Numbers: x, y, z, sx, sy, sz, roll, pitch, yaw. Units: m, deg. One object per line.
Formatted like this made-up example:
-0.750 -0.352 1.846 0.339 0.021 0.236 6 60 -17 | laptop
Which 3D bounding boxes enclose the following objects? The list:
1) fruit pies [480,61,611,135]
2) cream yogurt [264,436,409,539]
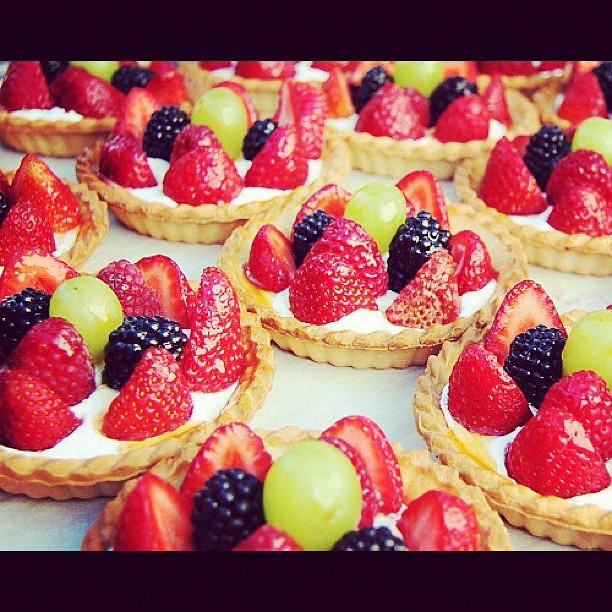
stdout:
1.036 -0.882 2.774 0.363 0.130 0.396 -4 36 1 | fruit pies
0.017 0.398 1.419 0.202 0.262 0.198 17 69 8 | cream yogurt
